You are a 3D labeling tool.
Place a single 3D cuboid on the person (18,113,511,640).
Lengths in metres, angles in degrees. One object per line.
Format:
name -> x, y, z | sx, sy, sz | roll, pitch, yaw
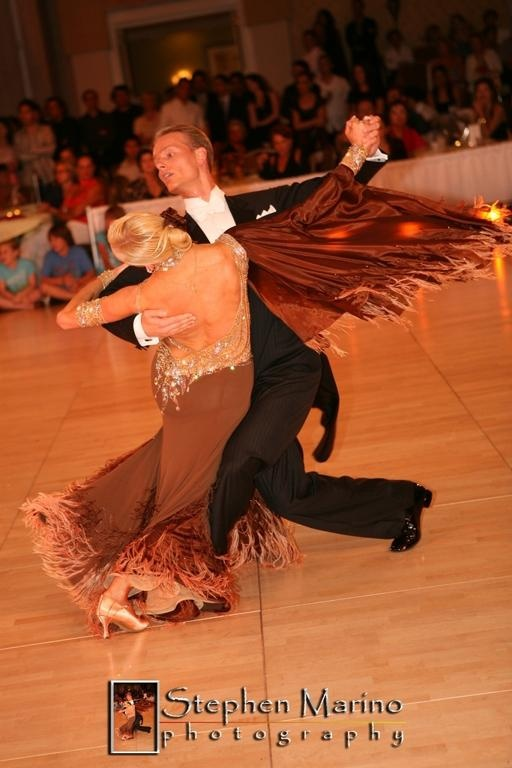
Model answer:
person -> -0.015, -0.049, 1.956 | 1.380, 1.302, 0.521 | -19, 21, -23
